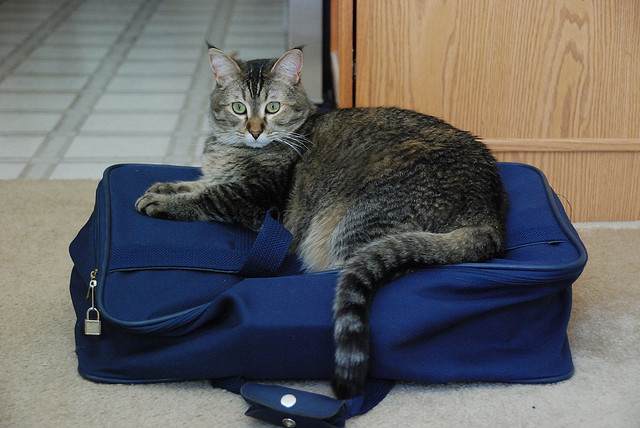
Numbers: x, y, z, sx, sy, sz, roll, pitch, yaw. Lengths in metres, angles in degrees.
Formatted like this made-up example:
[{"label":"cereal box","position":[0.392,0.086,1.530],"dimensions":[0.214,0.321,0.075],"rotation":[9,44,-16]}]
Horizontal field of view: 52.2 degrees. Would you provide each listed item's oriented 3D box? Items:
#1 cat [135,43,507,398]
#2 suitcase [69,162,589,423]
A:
[{"label":"cat","position":[-0.017,-0.145,2.064],"dimensions":[1.396,0.433,1.207],"rotation":[11,47,-10]},{"label":"suitcase","position":[-0.034,0.243,1.774],"dimensions":[1.119,0.304,0.714],"rotation":[-1,36,-1]}]
